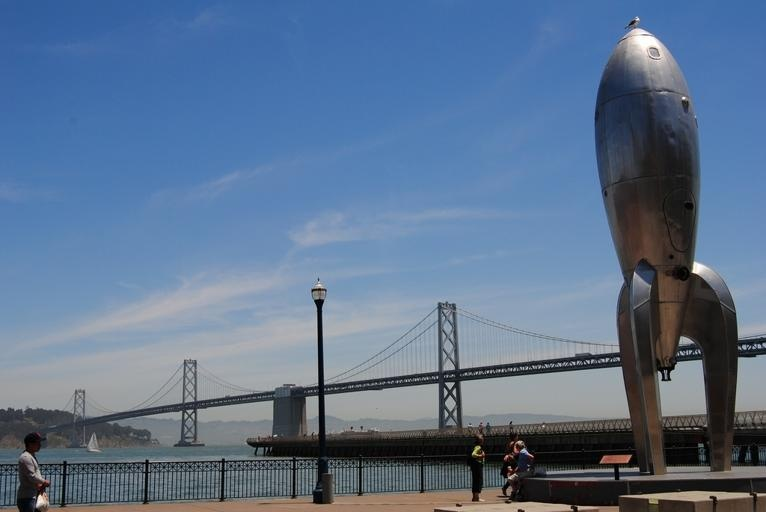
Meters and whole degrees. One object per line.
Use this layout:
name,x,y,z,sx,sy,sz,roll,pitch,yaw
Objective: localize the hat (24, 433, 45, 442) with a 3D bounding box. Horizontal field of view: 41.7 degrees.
hat,-9.263,4.736,26.732,0.402,0.223,0.291,1,-8,-15
